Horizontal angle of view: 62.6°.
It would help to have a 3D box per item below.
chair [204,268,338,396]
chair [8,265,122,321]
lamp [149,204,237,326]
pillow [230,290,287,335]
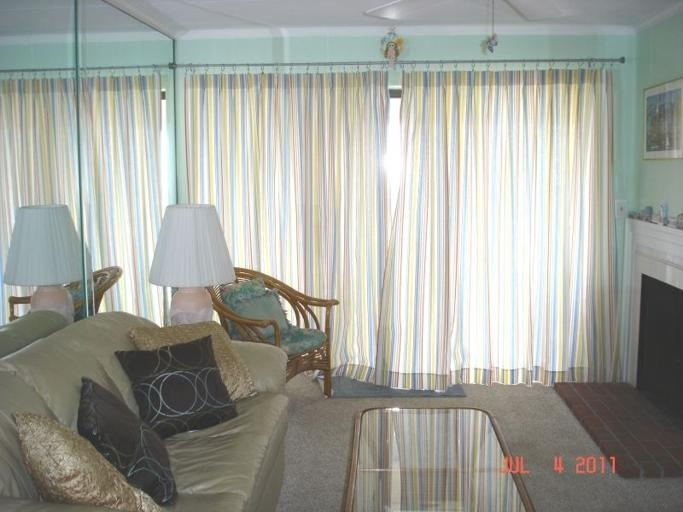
[{"bbox_3d":[-0.546,0.665,4.567,0.930,1.175,0.922,-8,7,-38],"label":"chair"},{"bbox_3d":[-1.696,0.232,3.743,0.257,0.380,0.287,-1,-4,5],"label":"chair"},{"bbox_3d":[-1.017,0.112,3.792,0.545,0.979,0.544,-9,21,-39],"label":"lamp"},{"bbox_3d":[-0.626,0.432,4.434,0.104,0.347,0.359,-24,-9,37],"label":"pillow"}]
